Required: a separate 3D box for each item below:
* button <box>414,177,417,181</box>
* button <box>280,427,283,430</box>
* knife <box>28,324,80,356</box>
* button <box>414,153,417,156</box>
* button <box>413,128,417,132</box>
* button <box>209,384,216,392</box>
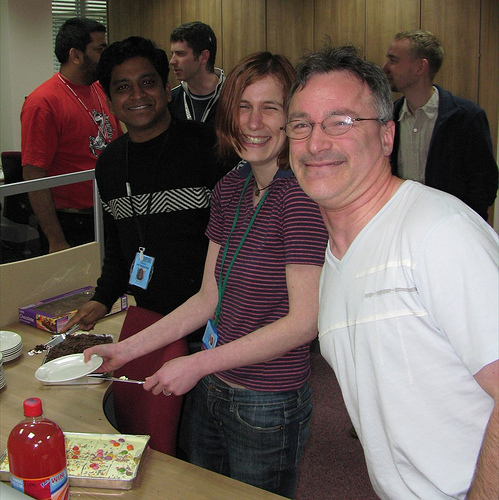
[{"bbox_3d":[1.124,-0.476,2.967,0.005,0.021,0.021,5,-1,-18],"label":"button"},{"bbox_3d":[0.088,0.486,1.195,0.008,0.009,0.001,-6,16,-22],"label":"button"},{"bbox_3d":[-0.767,0.359,1.734,0.142,0.026,0.021,-40,10,9],"label":"knife"},{"bbox_3d":[1.122,-0.640,2.970,0.018,0.016,0.010,8,17,28],"label":"button"},{"bbox_3d":[1.113,-0.798,2.946,0.017,0.022,0.008,6,16,21],"label":"button"},{"bbox_3d":[-0.107,0.400,1.275,0.004,0.018,0.018,0,46,-49],"label":"button"}]
